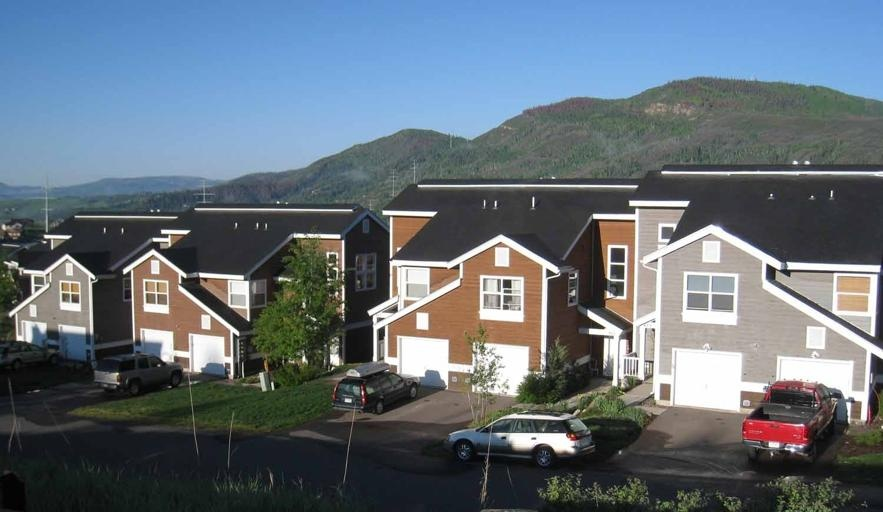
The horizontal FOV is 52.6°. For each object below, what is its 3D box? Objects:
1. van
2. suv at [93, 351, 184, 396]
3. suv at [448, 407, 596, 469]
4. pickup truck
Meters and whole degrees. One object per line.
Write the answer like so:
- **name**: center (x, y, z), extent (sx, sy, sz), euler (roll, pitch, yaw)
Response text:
- **van**: center (-4.080, 8.582, 59.355), extent (3.071, 2.620, 6.624), euler (3, 9, 32)
- **suv**: center (-21.177, 8.708, 62.361), extent (7.627, 3.455, 3.714), euler (2, -4, -28)
- **suv**: center (4.478, 10.363, 50.996), extent (8.136, 2.746, 3.569), euler (-2, -8, 26)
- **pickup truck**: center (20.231, 8.894, 51.080), extent (3.837, 3.320, 8.337), euler (3, 12, 33)
